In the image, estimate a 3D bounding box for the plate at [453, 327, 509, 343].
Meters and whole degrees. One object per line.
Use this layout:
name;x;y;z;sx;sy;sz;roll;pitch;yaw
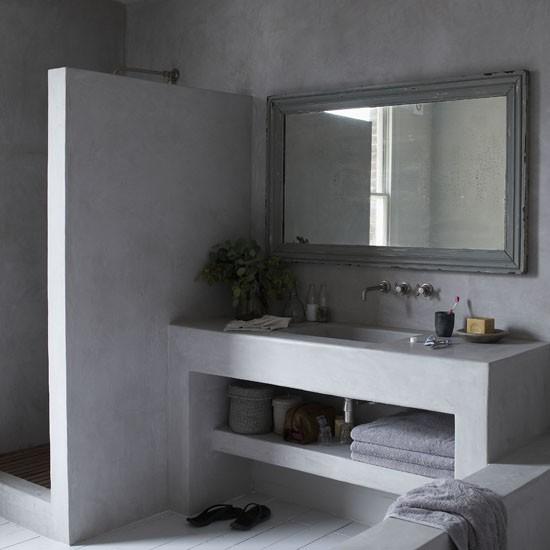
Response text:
plate;0.797;0.243;2.362;0.184;0.043;0.108;1;1;24

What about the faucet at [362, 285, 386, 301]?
faucet;0.437;0.083;2.782;0.138;0.057;0.062;-5;2;-41

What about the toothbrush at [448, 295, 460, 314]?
toothbrush;0.767;0.129;2.606;0.025;0.079;0.015;23;10;5

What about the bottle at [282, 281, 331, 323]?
bottle;0.163;0.141;3.031;0.225;0.188;0.096;1;-1;36

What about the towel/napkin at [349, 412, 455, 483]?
towel/napkin;0.558;0.659;2.385;0.451;0.173;0.289;1;2;42

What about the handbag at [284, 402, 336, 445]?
handbag;0.156;0.672;2.815;0.162;0.136;0.222;-4;-6;43

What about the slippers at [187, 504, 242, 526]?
slippers;-0.297;1.139;2.925;0.226;0.061;0.086;-1;-6;-30

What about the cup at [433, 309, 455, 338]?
cup;0.679;0.200;2.488;0.101;0.104;0.097;0;4;0

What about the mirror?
mirror;0.483;-0.457;2.849;0.065;0.862;1.513;-15;15;-39

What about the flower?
flower;-0.151;-0.009;3.072;0.438;0.283;0.440;15;18;43
